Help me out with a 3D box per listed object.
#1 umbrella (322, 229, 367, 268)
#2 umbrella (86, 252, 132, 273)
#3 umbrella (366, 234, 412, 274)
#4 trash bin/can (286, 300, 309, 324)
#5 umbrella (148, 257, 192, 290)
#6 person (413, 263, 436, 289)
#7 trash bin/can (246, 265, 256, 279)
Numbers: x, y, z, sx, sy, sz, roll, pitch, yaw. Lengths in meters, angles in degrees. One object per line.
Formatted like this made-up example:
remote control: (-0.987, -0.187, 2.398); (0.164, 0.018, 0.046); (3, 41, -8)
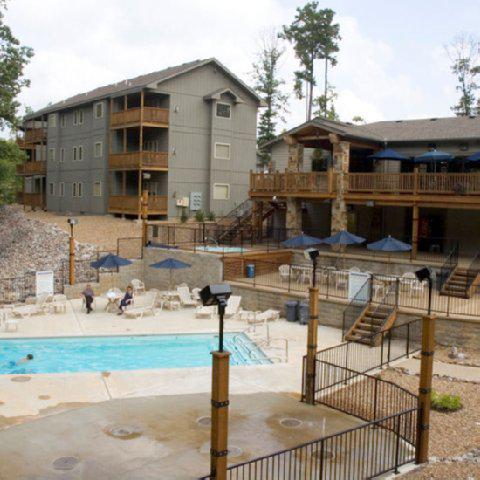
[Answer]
umbrella: (5.007, 0.526, 28.814); (1.467, 0.791, 1.570); (-1, 10, -8)
umbrella: (-5.774, 1.043, 26.922); (1.335, 0.654, 1.378); (0, 6, 4)
umbrella: (6.509, 0.695, 26.545); (1.472, 0.794, 1.496); (-2, 11, -15)
trash bin/can: (2.353, 2.965, 24.402); (0.904, 0.692, 0.791); (2, 0, 28)
umbrella: (-3.048, 1.577, 27.408); (1.228, 0.851, 1.182); (4, 14, 14)
person: (6.578, 1.380, 21.391); (0.554, 0.588, 1.110); (-14, -30, 13)
trash bin/can: (0.516, 1.604, 29.030); (0.521, 0.604, 0.538); (0, -1, -1)
